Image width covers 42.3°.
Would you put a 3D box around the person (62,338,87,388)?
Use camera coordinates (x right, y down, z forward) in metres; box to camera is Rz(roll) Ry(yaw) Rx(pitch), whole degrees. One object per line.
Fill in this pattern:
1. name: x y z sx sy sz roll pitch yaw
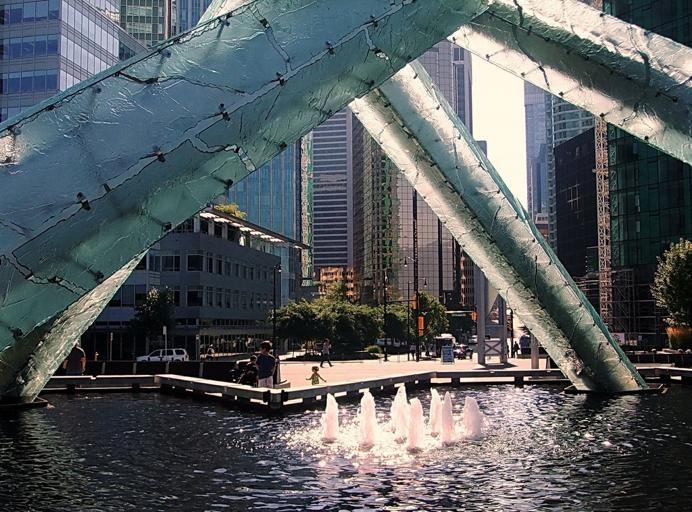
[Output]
1. person: -9.408 3.826 31.252 0.637 1.576 2.614 3 -16 -17
